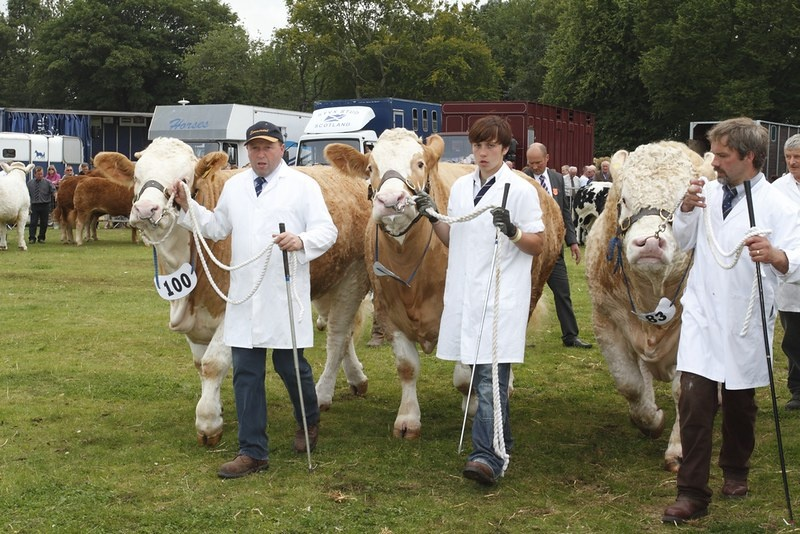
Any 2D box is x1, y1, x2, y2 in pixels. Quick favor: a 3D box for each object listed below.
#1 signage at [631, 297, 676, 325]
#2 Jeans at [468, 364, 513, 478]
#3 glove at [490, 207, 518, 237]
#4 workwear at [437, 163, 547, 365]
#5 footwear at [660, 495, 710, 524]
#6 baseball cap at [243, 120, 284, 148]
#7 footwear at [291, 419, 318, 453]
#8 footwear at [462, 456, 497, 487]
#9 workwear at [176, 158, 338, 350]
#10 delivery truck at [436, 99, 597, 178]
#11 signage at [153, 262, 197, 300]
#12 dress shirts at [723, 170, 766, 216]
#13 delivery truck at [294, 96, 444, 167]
[{"bbox_3d":[2.787,0.497,10.998,0.341,0.162,0.324,-12,11,-36],"label":"signage"},{"bbox_3d":[0.944,1.542,10.413,0.401,0.352,1.215,5,45,5],"label":"Jeans"},{"bbox_3d":[1.064,-0.452,10.327,0.178,0.318,0.213,3,4,42],"label":"glove"},{"bbox_3d":[0.934,-0.019,10.657,1.106,2.090,0.641,1,3,11],"label":"workwear"},{"bbox_3d":[2.777,2.379,9.965,0.558,0.198,0.204,1,-4,-32],"label":"footwear"},{"bbox_3d":[-1.437,-1.432,10.816,0.398,0.248,0.268,-1,3,-21],"label":"baseball cap"},{"bbox_3d":[-1.040,1.888,11.284,0.172,0.223,0.385,1,1,12],"label":"footwear"},{"bbox_3d":[0.838,2.101,10.387,0.196,0.193,0.409,-7,-37,28],"label":"footwear"},{"bbox_3d":[-1.617,-0.149,11.010,2.362,2.221,1.300,-2,-9,16],"label":"workwear"},{"bbox_3d":[3.838,-3.473,30.341,2.402,2.688,8.089,3,7,23],"label":"delivery truck"},{"bbox_3d":[-2.486,0.142,11.316,0.381,0.277,0.006,-23,1,-9],"label":"signage"},{"bbox_3d":[3.413,-0.737,10.127,0.520,0.377,0.322,-18,0,19],"label":"dress shirts"},{"bbox_3d":[-0.744,-3.227,26.927,2.289,2.329,4.965,1,7,23],"label":"delivery truck"}]
